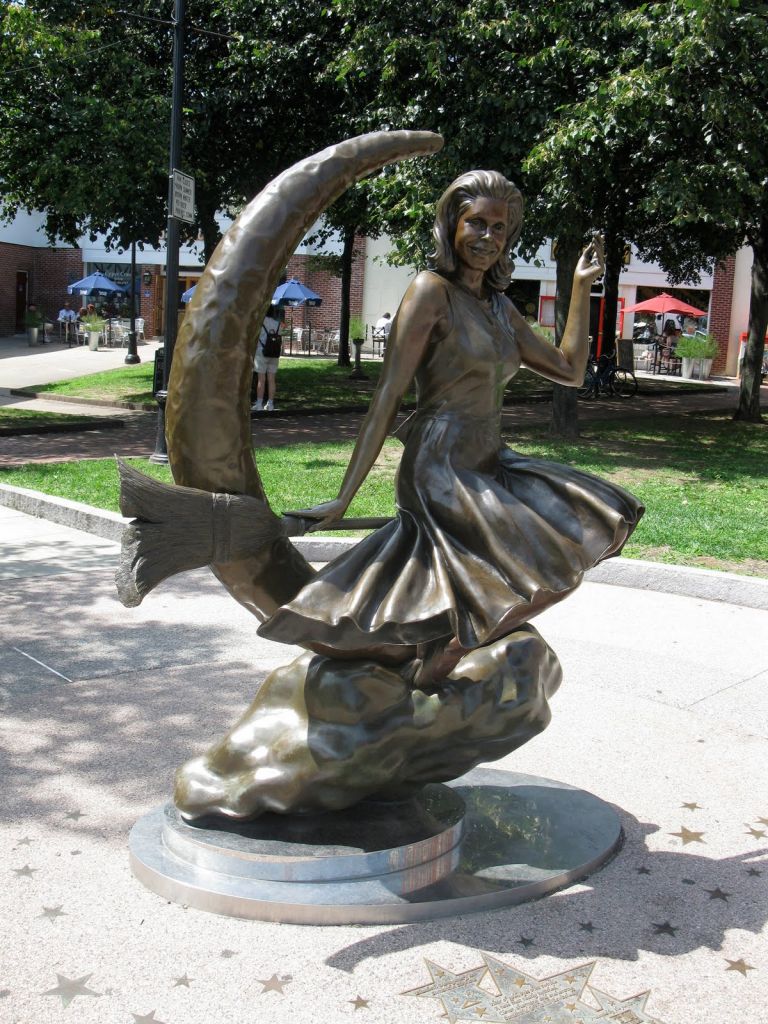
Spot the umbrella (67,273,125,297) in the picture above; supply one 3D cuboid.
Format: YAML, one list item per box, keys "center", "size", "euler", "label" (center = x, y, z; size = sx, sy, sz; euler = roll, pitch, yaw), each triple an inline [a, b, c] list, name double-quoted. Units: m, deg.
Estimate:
- center: [-11.094, -8.600, 36.767]
  size: [2.395, 0.827, 2.131]
  euler: [-1, 12, -7]
  label: "umbrella"

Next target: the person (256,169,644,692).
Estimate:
- center: [0.266, -0.241, 2.907]
  size: [0.839, 1.638, 1.220]
  euler: [8, 10, 32]
  label: "person"

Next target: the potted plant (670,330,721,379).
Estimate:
- center: [10.848, -5.247, 32.162]
  size: [1.639, 1.499, 1.639]
  euler: [1, 3, -16]
  label: "potted plant"

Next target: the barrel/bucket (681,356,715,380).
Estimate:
- center: [10.626, -4.856, 32.346]
  size: [1.045, 0.605, 0.828]
  euler: [1, 5, 10]
  label: "barrel/bucket"
